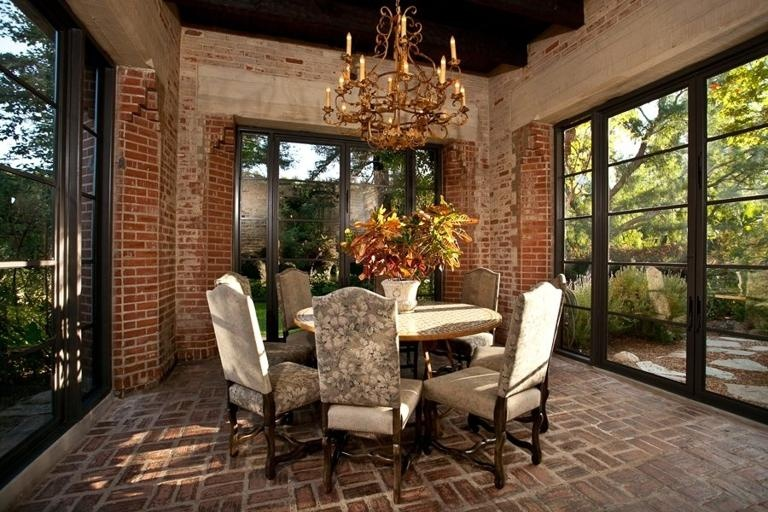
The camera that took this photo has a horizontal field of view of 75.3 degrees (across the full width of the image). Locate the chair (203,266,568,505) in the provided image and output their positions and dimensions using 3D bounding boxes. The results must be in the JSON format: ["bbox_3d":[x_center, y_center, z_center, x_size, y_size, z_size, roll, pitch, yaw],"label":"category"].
[{"bbox_3d":[0.081,1.109,4.375,2.923,1.781,0.827,0,1,8],"label":"chair"}]

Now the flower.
[{"bbox_3d":[0.220,-0.145,4.845,1.306,0.830,1.118,-1,2,-4],"label":"flower"}]
